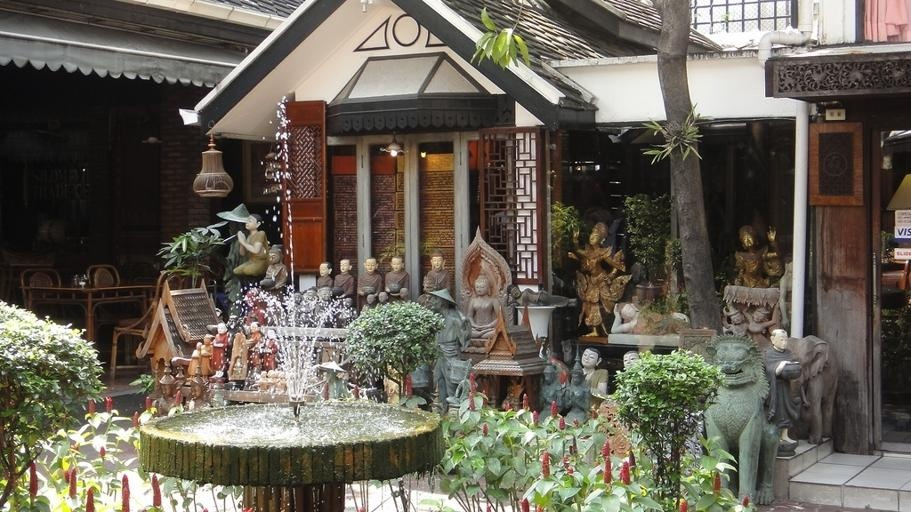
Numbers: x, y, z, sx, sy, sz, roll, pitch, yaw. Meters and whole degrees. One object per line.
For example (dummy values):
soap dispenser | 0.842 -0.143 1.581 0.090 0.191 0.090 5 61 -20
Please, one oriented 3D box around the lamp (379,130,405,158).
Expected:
lamp | -0.947 -1.707 15.405 0.328 0.324 0.345 1 -3 -4

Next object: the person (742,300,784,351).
person | 3.925 0.911 12.810 0.635 0.873 0.261 0 2 26

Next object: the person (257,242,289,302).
person | -2.833 0.256 15.703 0.338 0.691 0.722 -3 -1 30

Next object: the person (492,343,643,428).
person | 1.752 1.730 13.521 0.897 0.885 1.093 -3 -1 37

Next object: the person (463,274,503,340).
person | 0.354 0.736 14.225 0.676 0.930 0.604 -4 5 -25

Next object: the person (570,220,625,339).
person | 2.156 0.365 15.168 0.792 1.625 0.284 -3 -1 8

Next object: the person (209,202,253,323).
person | -3.371 0.006 15.897 0.580 1.706 0.557 -9 27 -39

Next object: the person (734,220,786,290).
person | 4.716 0.031 15.439 0.959 1.354 0.442 -1 -8 15

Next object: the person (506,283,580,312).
person | 1.263 0.574 14.480 1.039 0.365 0.346 10 4 4

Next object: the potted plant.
potted plant | 3.000 -0.219 15.556 0.730 1.544 0.646 -3 -1 12

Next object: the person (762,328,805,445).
person | 4.054 1.632 12.385 0.407 1.454 0.677 -3 -1 18

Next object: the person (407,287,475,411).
person | -0.185 1.313 13.709 0.801 1.525 0.646 -3 -1 -2

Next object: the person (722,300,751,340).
person | 3.700 0.853 13.121 0.449 0.729 0.245 -3 -3 23
